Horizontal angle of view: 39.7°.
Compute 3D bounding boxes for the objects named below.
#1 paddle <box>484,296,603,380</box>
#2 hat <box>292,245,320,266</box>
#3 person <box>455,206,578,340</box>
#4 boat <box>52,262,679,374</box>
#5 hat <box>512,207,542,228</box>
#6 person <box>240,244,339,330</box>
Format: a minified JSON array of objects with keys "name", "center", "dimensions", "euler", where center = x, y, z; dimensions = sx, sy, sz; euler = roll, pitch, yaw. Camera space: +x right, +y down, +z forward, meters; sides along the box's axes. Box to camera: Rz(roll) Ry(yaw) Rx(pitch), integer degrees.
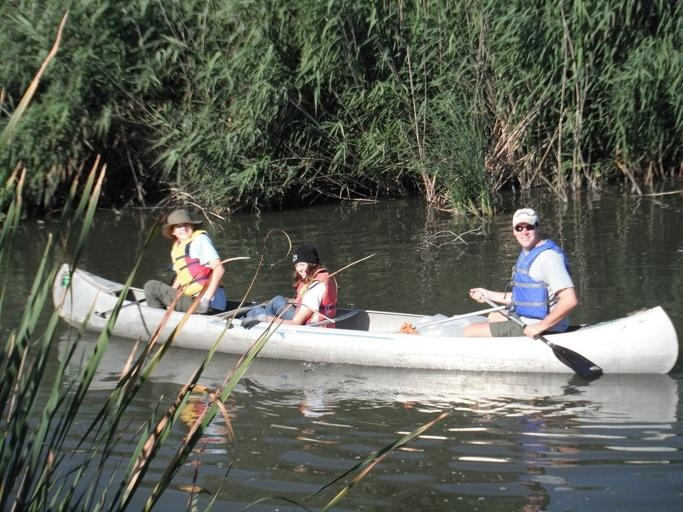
[{"name":"paddle","center":[1.754,0.760,8.444],"dimensions":[1.188,0.129,0.058],"euler":[36,20,13]},{"name":"hat","center":[-0.308,-0.012,8.907],"dimensions":[0.242,0.184,0.182],"euler":[13,-12,-43]},{"name":"person","center":[1.619,0.210,8.628],"dimensions":[1.203,1.191,0.887],"euler":[-4,-1,28]},{"name":"boat","center":[0.322,0.611,8.829],"dimensions":[5.156,0.631,0.843],"euler":[3,1,11]},{"name":"hat","center":[1.657,-0.344,8.529],"dimensions":[0.172,0.119,0.243],"euler":[-5,-15,15]},{"name":"person","center":[-0.534,0.432,9.159],"dimensions":[1.054,1.097,0.653],"euler":[4,19,-4]}]
